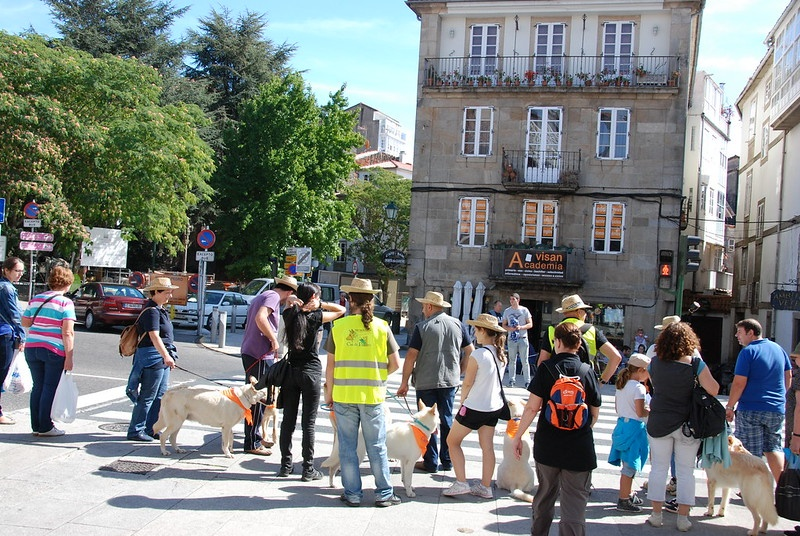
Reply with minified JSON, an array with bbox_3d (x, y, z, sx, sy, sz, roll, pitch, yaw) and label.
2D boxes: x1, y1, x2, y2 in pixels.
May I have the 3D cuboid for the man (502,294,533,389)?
[{"bbox_3d":[3.173,2.012,21.454,0.890,2.594,0.752,-1,2,29],"label":"man"}]

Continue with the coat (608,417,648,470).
[{"bbox_3d":[3.754,2.898,12.742,0.588,0.842,0.384,6,6,19],"label":"coat"}]

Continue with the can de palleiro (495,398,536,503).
[{"bbox_3d":[1.991,2.982,12.879,0.566,1.661,0.794,1,-7,3],"label":"can de palleiro"}]

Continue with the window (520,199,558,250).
[{"bbox_3d":[5.338,-1.595,29.579,1.826,2.421,0.207,2,-2,11],"label":"window"}]

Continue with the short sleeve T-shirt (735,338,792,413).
[{"bbox_3d":[6.105,1.808,13.143,1.044,1.201,0.674,2,-2,-22],"label":"short sleeve T-shirt"}]

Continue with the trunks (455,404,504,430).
[{"bbox_3d":[1.240,2.269,12.586,0.612,0.443,0.396,4,6,-25],"label":"trunks"}]

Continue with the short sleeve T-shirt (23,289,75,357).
[{"bbox_3d":[-6.255,0.977,13.831,0.905,1.110,0.307,4,6,5],"label":"short sleeve T-shirt"}]

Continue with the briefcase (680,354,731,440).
[{"bbox_3d":[4.750,2.060,12.070,0.645,1.271,0.319,6,6,19],"label":"briefcase"}]

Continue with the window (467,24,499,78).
[{"bbox_3d":[3.300,-8.504,30.838,1.226,2.315,0.172,3,-12,8],"label":"window"}]

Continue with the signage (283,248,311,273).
[{"bbox_3d":[-3.463,-0.233,26.308,0.071,0.672,0.907,-10,21,-40],"label":"signage"}]

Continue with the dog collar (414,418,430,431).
[{"bbox_3d":[0.353,2.531,12.634,0.215,0.051,0.155,41,0,14],"label":"dog collar"}]

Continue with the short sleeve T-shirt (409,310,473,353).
[{"bbox_3d":[0.709,1.226,13.670,1.123,0.947,0.593,0,15,-7],"label":"short sleeve T-shirt"}]

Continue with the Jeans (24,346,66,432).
[{"bbox_3d":[-6.378,2.088,13.941,0.726,1.701,0.533,0,-1,13],"label":"Jeans"}]

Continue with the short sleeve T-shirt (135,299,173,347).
[{"bbox_3d":[-4.433,1.027,14.166,0.558,0.865,1.000,-4,-3,-2],"label":"short sleeve T-shirt"}]

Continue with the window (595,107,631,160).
[{"bbox_3d":[8.038,-4.961,29.282,1.853,2.547,0.197,2,3,13],"label":"window"}]

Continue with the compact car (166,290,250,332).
[{"bbox_3d":[-7.444,1.678,31.036,1.686,1.168,2.682,-2,-4,42],"label":"compact car"}]

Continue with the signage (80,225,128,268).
[{"bbox_3d":[-14.096,-0.917,37.378,2.371,1.787,0.219,4,6,10],"label":"signage"}]

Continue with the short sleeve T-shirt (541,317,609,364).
[{"bbox_3d":[3.139,1.388,13.436,0.902,0.844,0.681,-18,26,3],"label":"short sleeve T-shirt"}]

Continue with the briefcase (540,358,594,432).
[{"bbox_3d":[2.414,1.884,11.229,0.591,0.922,0.251,5,6,13],"label":"briefcase"}]

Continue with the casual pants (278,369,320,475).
[{"bbox_3d":[-1.680,2.550,13.010,0.660,1.842,0.629,4,6,2],"label":"casual pants"}]

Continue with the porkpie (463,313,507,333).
[{"bbox_3d":[1.441,0.914,12.727,0.382,0.139,0.366,19,-3,-18],"label":"porkpie"}]

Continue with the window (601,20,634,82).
[{"bbox_3d":[8.327,-8.306,29.851,1.206,2.400,0.251,3,-18,13],"label":"window"}]

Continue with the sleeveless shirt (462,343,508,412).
[{"bbox_3d":[1.364,1.789,12.585,0.673,1.045,0.285,4,6,1],"label":"sleeveless shirt"}]
